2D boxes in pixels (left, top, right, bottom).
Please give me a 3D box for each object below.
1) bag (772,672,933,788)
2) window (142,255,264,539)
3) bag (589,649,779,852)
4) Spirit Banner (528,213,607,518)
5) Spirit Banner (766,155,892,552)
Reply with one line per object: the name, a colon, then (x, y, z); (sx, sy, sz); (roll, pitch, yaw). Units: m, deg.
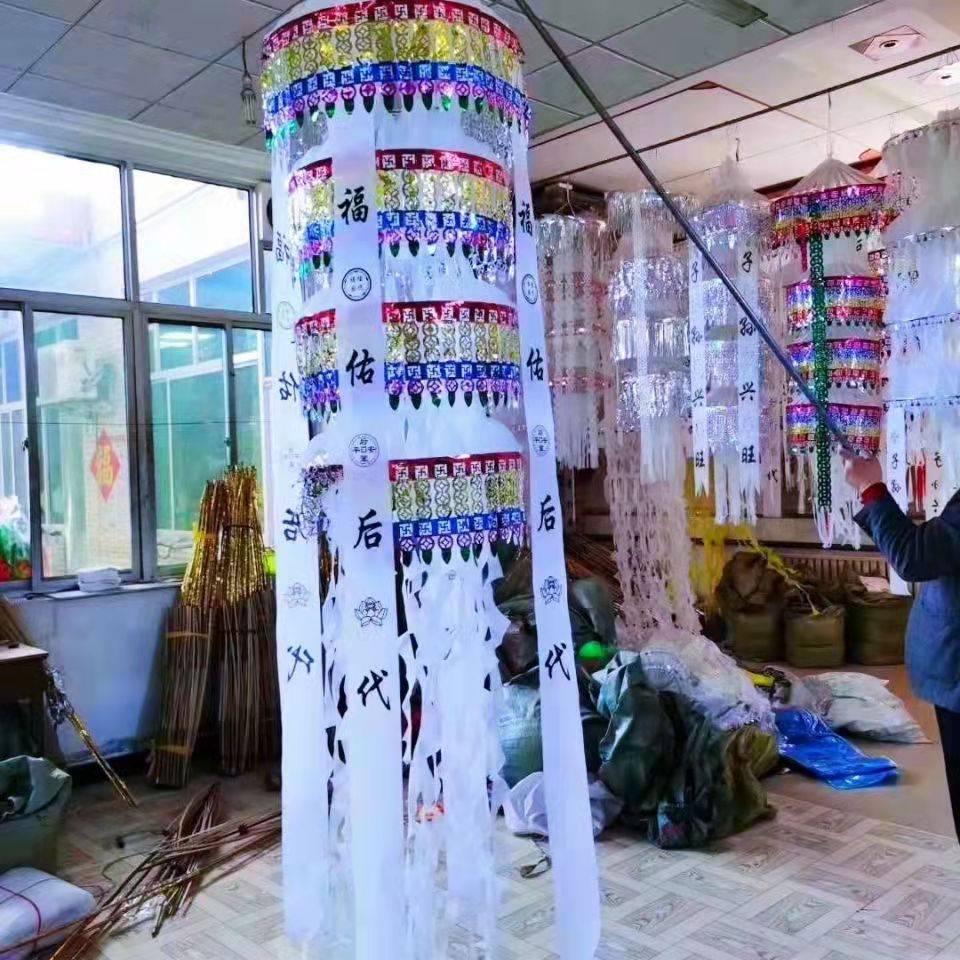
bag: (1.894, 1.335, 4.486); (0.403, 0.143, 0.602); (-10, 14, -5)
window: (-1.559, -0.390, 5.179); (0.817, 0.077, 1.783); (-2, 43, -15)
bag: (0.951, 1.097, 3.923); (0.834, 0.478, 0.698); (-26, -9, -3)
Spirit Banner: (0.521, -0.749, 4.742); (0.276, 1.372, 0.340); (-4, 21, -1)
Spirit Banner: (1.604, -0.551, 3.862); (0.452, 1.750, 0.456); (-1, 0, 44)
